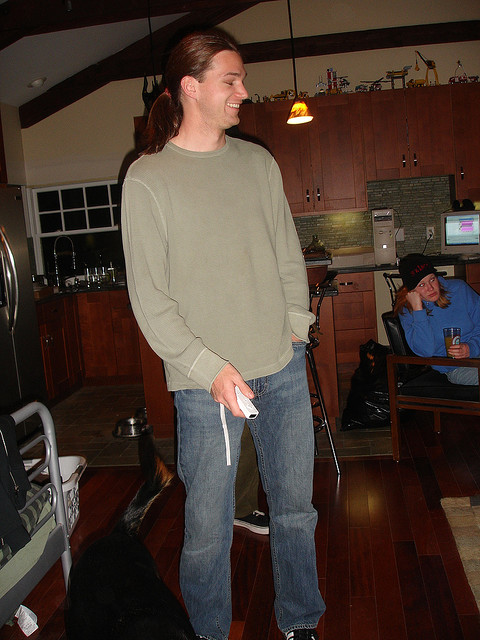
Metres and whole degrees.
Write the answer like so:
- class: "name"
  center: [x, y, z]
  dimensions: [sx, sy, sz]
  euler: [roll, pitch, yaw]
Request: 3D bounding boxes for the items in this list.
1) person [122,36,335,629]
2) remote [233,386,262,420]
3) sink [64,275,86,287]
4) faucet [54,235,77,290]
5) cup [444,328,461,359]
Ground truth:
- class: "person"
  center: [-0.019, 0.128, 1.070]
  dimensions: [0.330, 1.445, 0.439]
  euler: [-4, 5, 17]
- class: "remote"
  center: [0.009, 0.150, 0.855]
  dimensions: [0.028, 0.054, 0.047]
  euler: [-7, 5, -18]
- class: "sink"
  center: [-1.939, -0.469, 5.584]
  dimensions: [0.198, 0.134, 0.649]
  euler: [-6, 5, -11]
- class: "faucet"
  center: [-2.147, -0.821, 5.777]
  dimensions: [0.256, 0.339, 0.218]
  euler: [-6, 5, -14]
- class: "cup"
  center: [1.069, 0.115, 2.384]
  dimensions: [0.071, 0.146, 0.068]
  euler: [-5, 5, 0]
